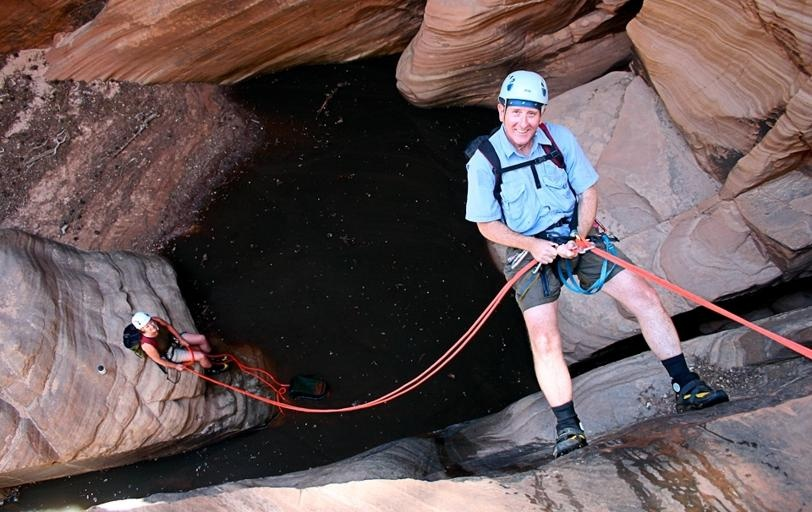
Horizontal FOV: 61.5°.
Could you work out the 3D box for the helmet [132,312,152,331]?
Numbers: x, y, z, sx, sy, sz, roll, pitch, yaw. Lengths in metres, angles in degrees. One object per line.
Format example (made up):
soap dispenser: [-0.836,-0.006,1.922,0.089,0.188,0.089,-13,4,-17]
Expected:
helmet: [-2.742,0.648,7.024,0.172,0.097,0.181,40,78,17]

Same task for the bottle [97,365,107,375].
bottle: [-3.174,1.175,7.156,0.090,0.098,0.089,-29,91,-20]

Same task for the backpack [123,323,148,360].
backpack: [-2.878,0.852,7.096,0.322,0.307,0.225,22,29,23]

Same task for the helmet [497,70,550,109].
helmet: [0.941,-1.354,5.594,0.296,0.369,0.332,3,93,-5]
